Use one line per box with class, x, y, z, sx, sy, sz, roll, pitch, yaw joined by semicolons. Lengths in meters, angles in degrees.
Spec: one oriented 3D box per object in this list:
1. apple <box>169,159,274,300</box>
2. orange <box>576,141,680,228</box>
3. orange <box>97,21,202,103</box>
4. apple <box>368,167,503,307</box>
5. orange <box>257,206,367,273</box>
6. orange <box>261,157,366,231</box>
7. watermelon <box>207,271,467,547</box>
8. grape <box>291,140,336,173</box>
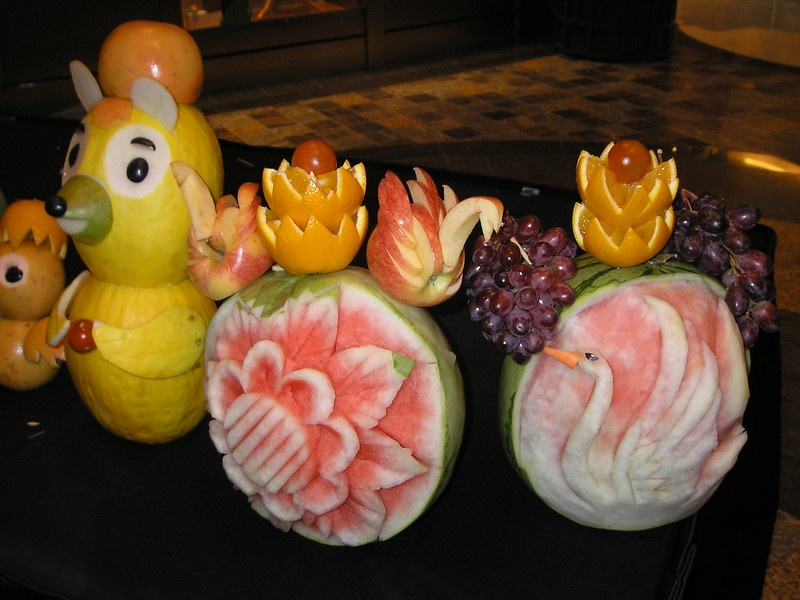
apple;-0.239;-0.101;1.168;0.134;0.189;0.090;-27;6;23
orange;0.298;-0.157;1.042;0.130;0.094;0.112;7;31;12
orange;-0.379;-0.357;1.236;0.125;0.131;0.132;1;5;19
apple;0.044;-0.068;1.037;0.139;0.181;0.142;-25;38;-37
orange;-0.107;-0.096;1.044;0.099;0.072;0.098;-6;12;-38
orange;-0.104;-0.150;1.036;0.097;0.075;0.103;-9;16;-43
watermelon;-0.057;0.118;1.187;0.319;0.366;0.218;-27;2;14
grape;-0.112;-0.183;1.030;0.044;0.049;0.053;-18;-3;-6
